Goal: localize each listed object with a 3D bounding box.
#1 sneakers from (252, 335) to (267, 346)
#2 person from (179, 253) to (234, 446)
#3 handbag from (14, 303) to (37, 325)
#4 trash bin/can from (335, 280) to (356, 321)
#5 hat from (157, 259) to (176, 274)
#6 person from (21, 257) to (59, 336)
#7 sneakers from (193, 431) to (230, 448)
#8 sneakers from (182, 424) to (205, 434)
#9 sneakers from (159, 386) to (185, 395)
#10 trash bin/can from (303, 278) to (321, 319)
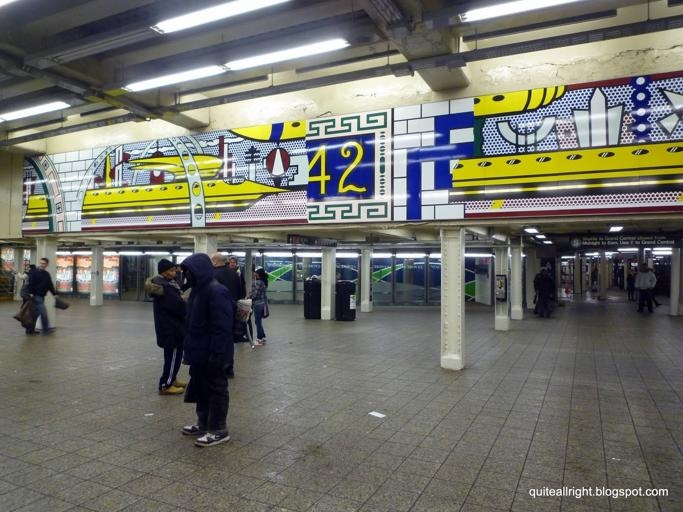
[{"bbox_3d":[-2.215,2.306,14.343,0.241,0.265,0.625,2,-3,-19],"label":"sneakers"},{"bbox_3d":[-1.910,1.305,7.536,0.794,2.653,0.559,5,6,39],"label":"person"},{"bbox_3d":[-9.025,1.613,15.068,0.478,0.721,0.527,-2,5,-30],"label":"handbag"},{"bbox_3d":[0.161,1.708,20.124,0.743,1.461,0.434,1,5,-4],"label":"trash bin/can"},{"bbox_3d":[-3.173,0.199,9.563,0.285,0.247,0.246,-4,5,-31],"label":"hat"},{"bbox_3d":[-8.640,1.118,15.176,1.025,2.003,0.702,4,-12,-5],"label":"person"},{"bbox_3d":[-1.798,2.560,7.418,0.504,0.202,0.178,6,-4,-26],"label":"sneakers"},{"bbox_3d":[-2.166,2.535,7.726,0.378,0.152,0.127,5,-8,4],"label":"sneakers"},{"bbox_3d":[-3.038,2.398,9.456,0.383,0.135,0.161,0,-8,-6],"label":"sneakers"},{"bbox_3d":[-1.113,1.670,20.778,0.669,1.516,0.706,1,5,-2],"label":"trash bin/can"}]
